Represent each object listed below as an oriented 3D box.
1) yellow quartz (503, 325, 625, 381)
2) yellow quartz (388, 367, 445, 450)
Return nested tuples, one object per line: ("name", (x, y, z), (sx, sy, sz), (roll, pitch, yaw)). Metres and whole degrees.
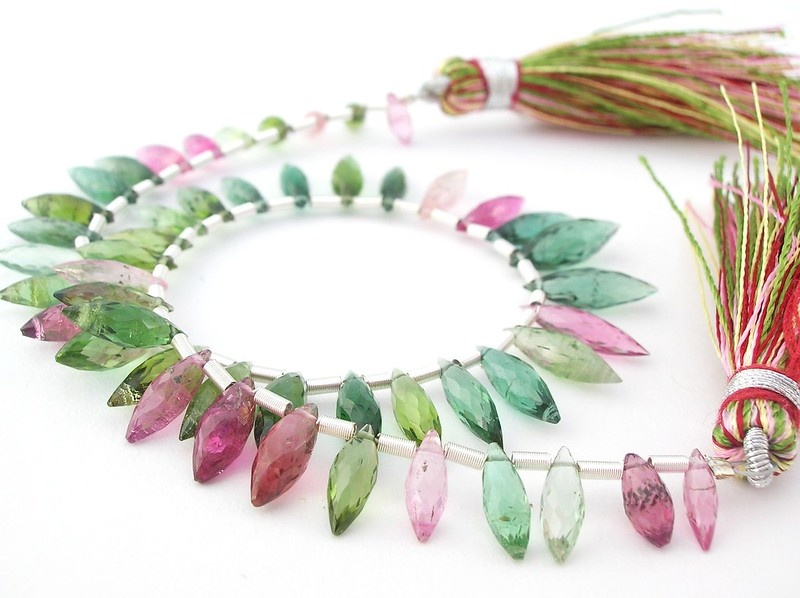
("yellow quartz", (0.315, 0.109, 1.582), (0.225, 0.073, 0.069), (27, 5, 19))
("yellow quartz", (0.038, 0.185, 1.434), (0.092, 0.161, 0.053), (-21, -24, -4))
